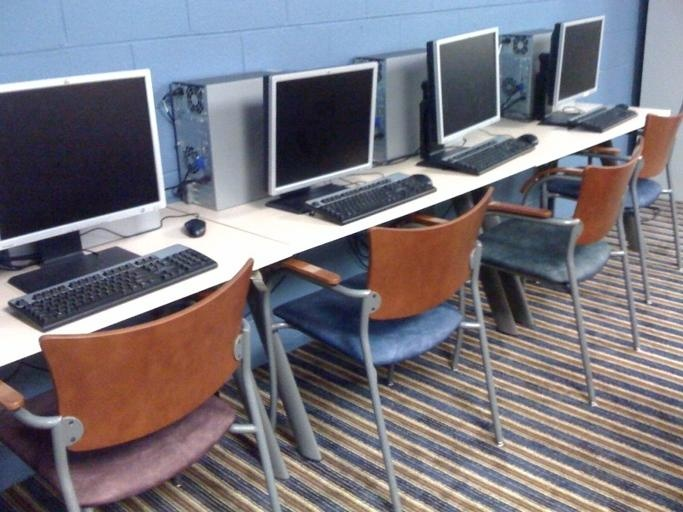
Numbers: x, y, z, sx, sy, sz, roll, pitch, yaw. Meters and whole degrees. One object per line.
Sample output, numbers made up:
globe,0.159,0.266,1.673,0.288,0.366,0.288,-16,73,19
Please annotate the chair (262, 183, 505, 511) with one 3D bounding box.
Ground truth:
chair,0.277,0.057,2.627,1.056,1.436,1.060,-22,34,-39

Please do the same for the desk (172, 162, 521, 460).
desk,0.048,0.132,2.786,1.416,1.546,1.071,-25,40,-31

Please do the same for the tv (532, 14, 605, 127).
tv,1.310,-1.072,3.264,0.254,0.638,0.728,8,26,34

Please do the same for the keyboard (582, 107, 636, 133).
keyboard,1.521,-0.778,3.175,0.400,0.066,0.189,-25,36,-37

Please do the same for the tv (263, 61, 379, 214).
tv,-0.086,-0.465,2.255,0.206,0.483,0.548,22,33,38

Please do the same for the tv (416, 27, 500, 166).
tv,0.560,-0.743,2.676,0.197,0.608,0.614,13,31,38
